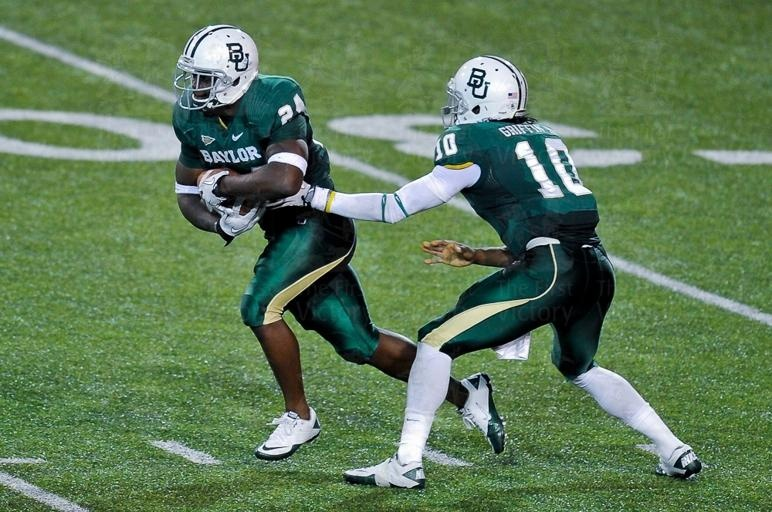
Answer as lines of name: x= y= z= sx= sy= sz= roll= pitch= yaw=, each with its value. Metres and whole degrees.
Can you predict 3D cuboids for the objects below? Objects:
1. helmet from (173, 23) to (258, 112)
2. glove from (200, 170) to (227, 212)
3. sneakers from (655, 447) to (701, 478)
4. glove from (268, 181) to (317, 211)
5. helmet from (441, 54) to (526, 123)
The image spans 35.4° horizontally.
helmet: x=-0.950 y=-1.078 z=6.754 sx=0.547 sy=0.330 sz=0.380 roll=-15 pitch=27 yaw=-35
glove: x=-0.962 y=-0.359 z=6.662 sx=0.154 sy=0.224 sz=0.115 roll=5 pitch=24 yaw=-2
sneakers: x=1.578 y=1.118 z=6.548 sx=0.246 sy=0.136 sz=0.171 roll=-1 pitch=3 yaw=24
glove: x=-0.572 y=-0.316 z=6.672 sx=0.349 sy=0.138 sz=0.090 roll=-9 pitch=65 yaw=12
helmet: x=0.589 y=-0.913 z=6.660 sx=0.486 sy=0.307 sz=0.382 roll=11 pitch=16 yaw=32
